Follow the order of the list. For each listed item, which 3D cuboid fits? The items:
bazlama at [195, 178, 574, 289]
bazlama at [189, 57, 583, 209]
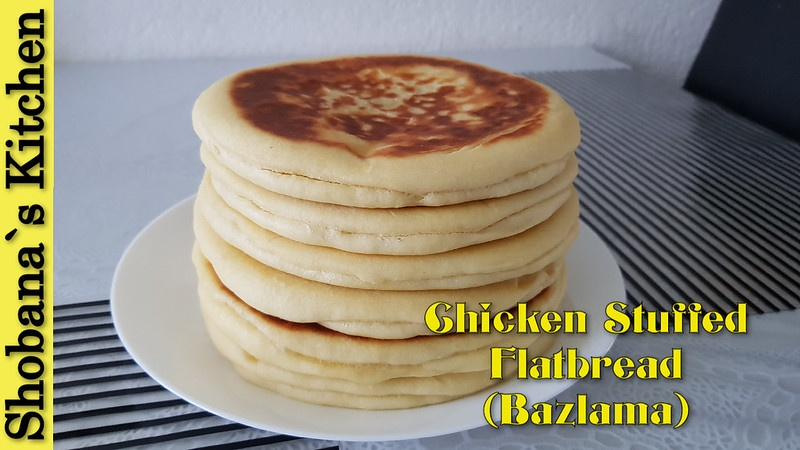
[{"bbox_3d":[-0.042,-0.045,1.670,0.956,0.205,0.888,1,13,11],"label":"bazlama"},{"bbox_3d":[-0.012,-0.207,1.349,0.537,0.059,0.434,-5,29,-16],"label":"bazlama"}]
